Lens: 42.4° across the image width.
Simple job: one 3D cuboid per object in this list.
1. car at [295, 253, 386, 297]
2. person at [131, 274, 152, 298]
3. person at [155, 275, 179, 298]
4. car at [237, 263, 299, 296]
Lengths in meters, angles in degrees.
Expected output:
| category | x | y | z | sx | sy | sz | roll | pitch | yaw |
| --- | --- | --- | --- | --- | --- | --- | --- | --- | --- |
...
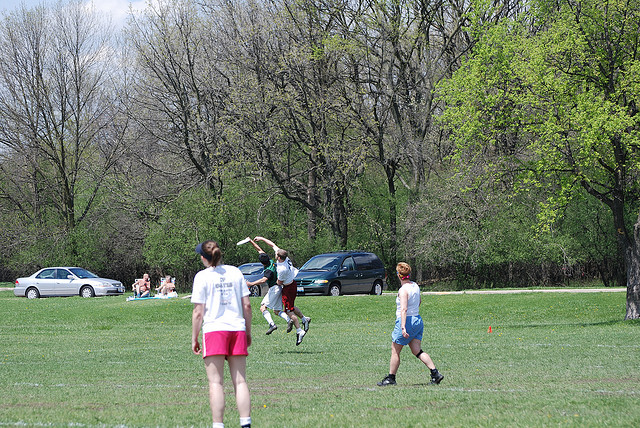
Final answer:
| category | x | y | z | sx | sy | sz | roll | pitch | yaw |
| --- | --- | --- | --- | --- | --- | --- | --- | --- | --- |
| car | 1.081 | 3.376 | 44.727 | 2.260 | 1.747 | 3.886 | -6 | -9 | 41 |
| person | -10.159 | 4.163 | 47.036 | 0.938 | 1.340 | 1.693 | -1 | -6 | -17 |
| person | -8.750 | 4.248 | 47.467 | 1.072 | 0.910 | 1.245 | -1 | -8 | 4 |
| car | -3.711 | 3.515 | 46.754 | 3.365 | 1.556 | 2.084 | 5 | -9 | -32 |
